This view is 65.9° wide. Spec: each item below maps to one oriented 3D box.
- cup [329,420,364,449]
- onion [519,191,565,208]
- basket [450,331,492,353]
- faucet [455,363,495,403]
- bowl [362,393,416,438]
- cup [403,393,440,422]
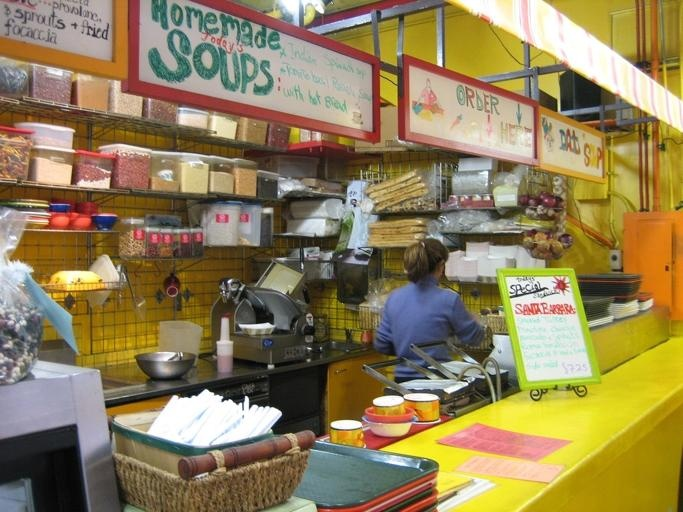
[{"bbox_3d":[0.022,0.678,2.048,0.126,0.075,0.119,1,0,0],"label":"cup"},{"bbox_3d":[1.522,-0.430,4.033,0.159,0.092,0.253,-4,1,-35],"label":"onion"},{"bbox_3d":[1.101,0.721,4.343,0.421,0.150,0.418,-2,-3,30],"label":"basket"},{"bbox_3d":[0.720,0.645,2.779,0.183,0.183,0.403,-2,-1,16],"label":"faucet"},{"bbox_3d":[0.210,0.670,2.229,0.184,0.089,0.167,-3,5,0],"label":"bowl"},{"bbox_3d":[0.374,0.681,2.424,0.150,0.083,0.149,0,-2,0],"label":"cup"}]
